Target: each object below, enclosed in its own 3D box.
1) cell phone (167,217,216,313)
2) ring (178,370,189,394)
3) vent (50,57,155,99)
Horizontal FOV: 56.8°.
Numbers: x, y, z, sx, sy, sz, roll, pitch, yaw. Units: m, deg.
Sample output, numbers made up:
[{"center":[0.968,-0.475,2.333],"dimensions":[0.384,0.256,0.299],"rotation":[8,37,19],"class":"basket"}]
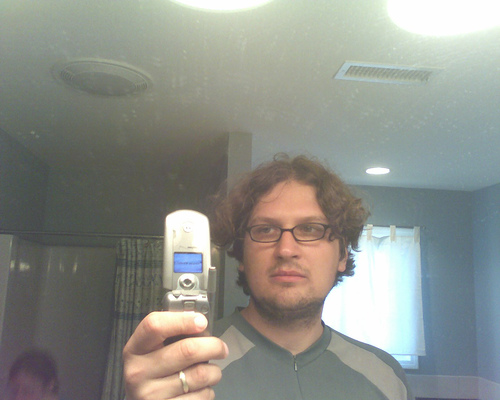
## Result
[{"center":[-0.096,0.115,0.720],"dimensions":[0.078,0.189,0.022],"rotation":[1,-19,-10],"class":"cell phone"},{"center":[-0.104,0.286,0.726],"dimensions":[0.018,0.036,0.010],"rotation":[4,-10,-22],"class":"ring"},{"center":[-0.325,-0.272,1.026],"dimensions":[0.119,0.025,0.121],"rotation":[4,-15,-14],"class":"vent"}]
